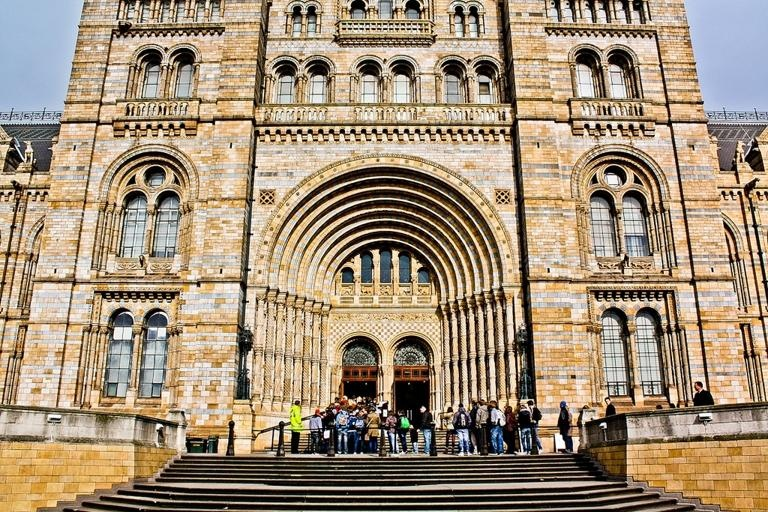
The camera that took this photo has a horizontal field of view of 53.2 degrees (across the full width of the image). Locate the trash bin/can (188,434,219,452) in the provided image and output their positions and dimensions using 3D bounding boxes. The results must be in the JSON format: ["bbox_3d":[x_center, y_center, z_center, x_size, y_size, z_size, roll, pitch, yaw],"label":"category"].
[{"bbox_3d":[-9.117,9.481,38.502,1.053,0.615,1.016,0,-8,0],"label":"trash bin/can"}]
